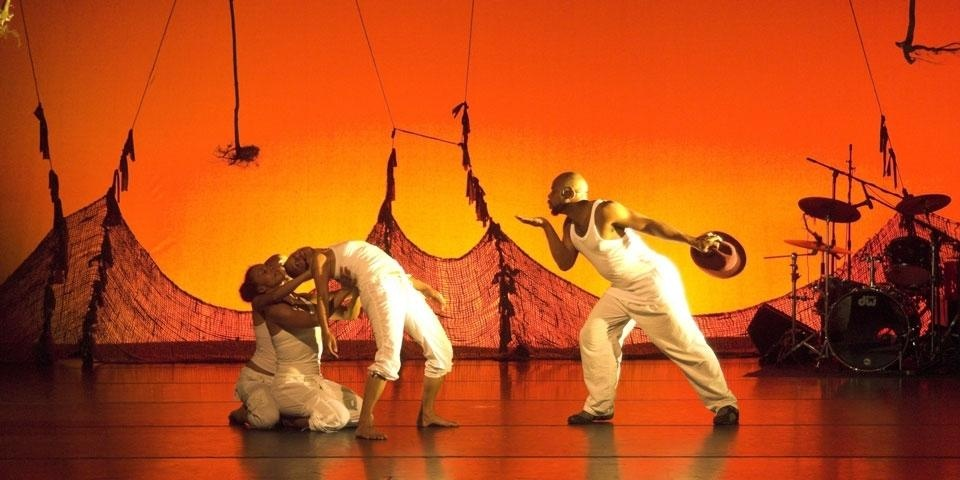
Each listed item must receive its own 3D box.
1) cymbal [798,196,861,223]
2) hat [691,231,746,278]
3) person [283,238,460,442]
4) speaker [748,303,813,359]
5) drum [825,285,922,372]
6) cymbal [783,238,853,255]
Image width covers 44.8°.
[{"bbox_3d":[5.544,-0.439,18.446,0.850,0.485,0.583,-11,18,-37],"label":"cymbal"},{"bbox_3d":[3.324,0.247,15.670,0.821,0.725,0.234,17,45,23],"label":"hat"},{"bbox_3d":[-1.231,1.271,15.101,1.708,2.379,0.957,-2,16,-5],"label":"person"},{"bbox_3d":[4.971,1.562,19.211,1.016,0.988,0.735,1,1,24],"label":"speaker"},{"bbox_3d":[6.411,1.363,18.138,1.279,1.289,2.185,0,-1,14],"label":"drum"},{"bbox_3d":[5.259,0.095,18.400,0.891,0.317,0.873,2,14,11],"label":"cymbal"}]
